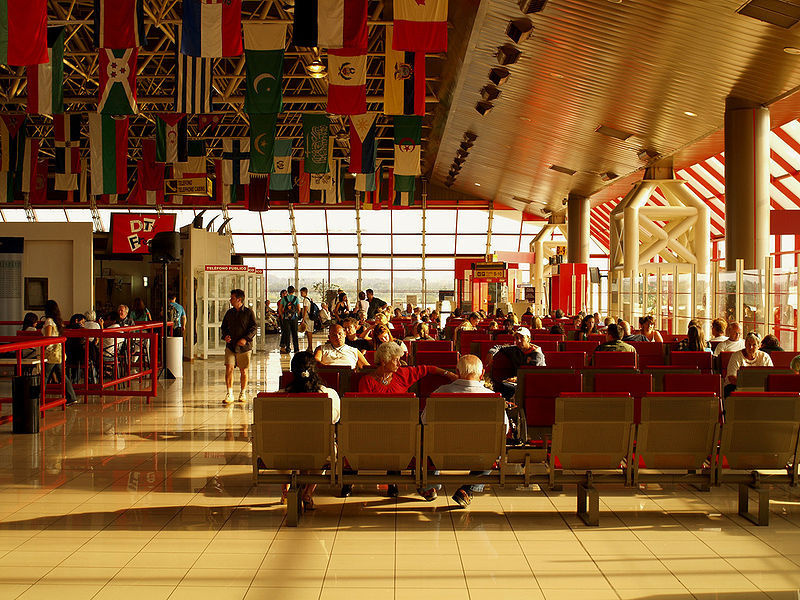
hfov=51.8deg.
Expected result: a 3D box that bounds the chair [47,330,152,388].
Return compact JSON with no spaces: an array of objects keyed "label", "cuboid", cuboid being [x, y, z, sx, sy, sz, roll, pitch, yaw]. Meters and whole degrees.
[{"label":"chair","cuboid":[-5.299,1.125,15.093,1.413,0.965,1.449,0,-5,-7]}]

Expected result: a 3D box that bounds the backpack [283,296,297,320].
[{"label":"backpack","cuboid":[-3.059,0.157,22.953,0.492,0.719,0.363,2,14,1]}]

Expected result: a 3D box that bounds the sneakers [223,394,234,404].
[{"label":"sneakers","cuboid":[-2.917,1.678,14.089,0.124,0.202,0.196,4,-8,-23]}]

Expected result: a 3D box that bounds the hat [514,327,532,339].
[{"label":"hat","cuboid":[1.697,0.420,11.250,0.235,0.127,0.161,26,-13,-36]}]

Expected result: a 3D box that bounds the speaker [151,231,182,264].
[{"label":"speaker","cuboid":[-4.760,-1.104,16.801,0.576,0.598,0.611,2,-7,-36]}]

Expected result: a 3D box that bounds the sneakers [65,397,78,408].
[{"label":"sneakers","cuboid":[-5.523,1.686,13.892,0.175,0.108,0.509,-3,6,-22]}]

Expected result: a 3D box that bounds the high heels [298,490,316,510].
[{"label":"high heels","cuboid":[-0.949,2.025,8.358,0.130,0.243,0.254,-3,-5,8]}]
